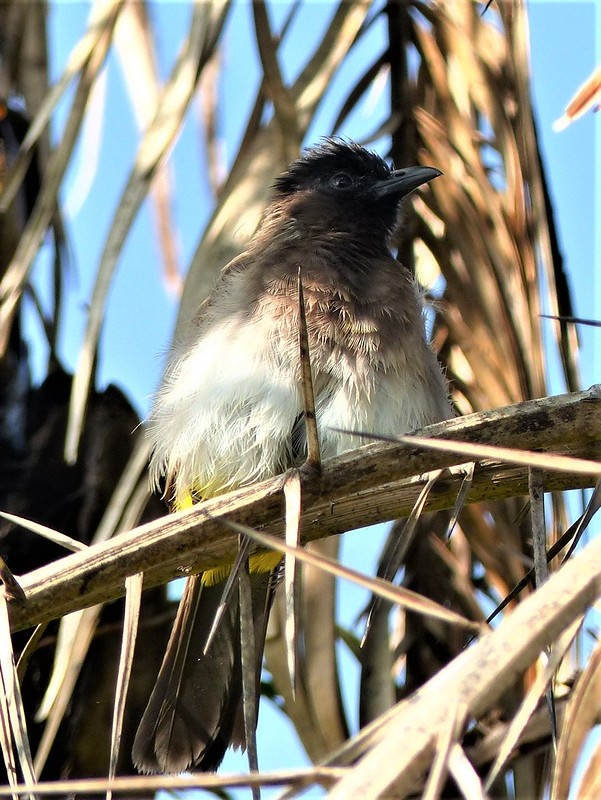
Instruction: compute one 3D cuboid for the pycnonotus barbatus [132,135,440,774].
[{"bbox_3d":[-0.026,0.092,4.512,0.631,1.310,1.283,21,-39,-19],"label":"pycnonotus barbatus"}]
